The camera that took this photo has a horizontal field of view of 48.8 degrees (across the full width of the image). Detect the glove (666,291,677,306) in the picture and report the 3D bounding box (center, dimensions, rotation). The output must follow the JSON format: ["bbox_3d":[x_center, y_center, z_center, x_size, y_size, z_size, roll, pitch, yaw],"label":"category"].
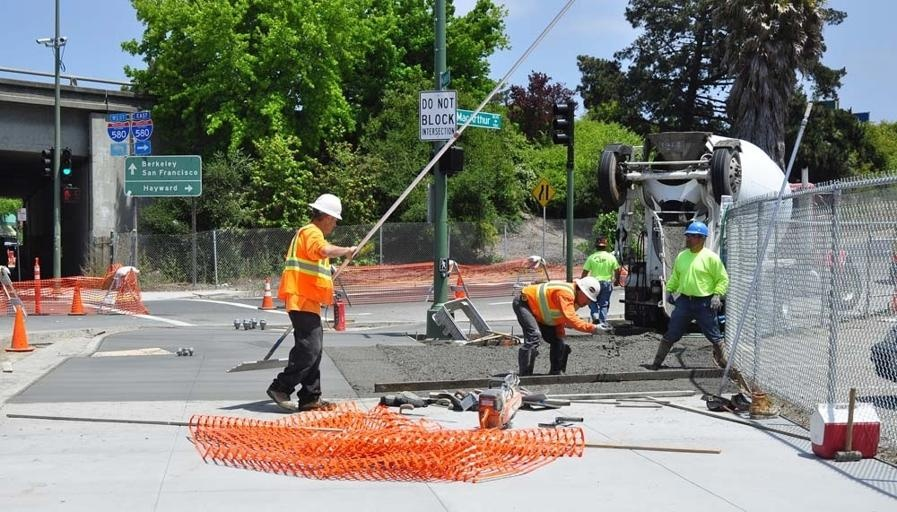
[{"bbox_3d":[5.796,1.108,25.805,0.334,0.447,0.143,8,0,16],"label":"glove"}]

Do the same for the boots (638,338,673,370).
[{"bbox_3d":[4.654,2.148,21.958,0.566,0.693,0.535,-1,4,5],"label":"boots"}]

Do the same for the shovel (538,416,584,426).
[{"bbox_3d":[2.207,3.191,19.124,0.994,0.142,0.257,-3,4,-20],"label":"shovel"}]

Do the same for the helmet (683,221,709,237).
[{"bbox_3d":[5.649,-0.571,22.090,0.633,0.330,0.461,9,2,-21],"label":"helmet"}]

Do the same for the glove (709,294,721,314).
[{"bbox_3d":[5.901,1.067,21.758,0.124,0.354,0.264,0,10,29],"label":"glove"}]

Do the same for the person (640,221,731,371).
[{"bbox_3d":[5.429,0.860,22.008,1.526,3.194,0.868,-1,4,11],"label":"person"}]

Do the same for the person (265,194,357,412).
[{"bbox_3d":[-2.844,0.915,19.793,1.466,4.226,0.893,-2,4,-8],"label":"person"}]

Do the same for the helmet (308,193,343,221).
[{"bbox_3d":[-2.410,-0.898,19.900,0.613,0.311,0.560,28,7,-26],"label":"helmet"}]

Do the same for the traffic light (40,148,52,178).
[{"bbox_3d":[-15.325,-3.557,37.679,0.338,1.045,0.617,-2,4,0],"label":"traffic light"}]

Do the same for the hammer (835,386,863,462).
[{"bbox_3d":[7.341,3.057,18.058,0.473,1.343,0.227,-4,4,-27],"label":"hammer"}]

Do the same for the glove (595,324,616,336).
[{"bbox_3d":[3.360,1.570,21.174,0.476,0.180,0.348,5,-4,-30],"label":"glove"}]

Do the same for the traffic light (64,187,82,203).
[{"bbox_3d":[-14.361,-2.297,37.568,0.638,0.642,0.612,1,-3,-36],"label":"traffic light"}]

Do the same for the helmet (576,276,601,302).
[{"bbox_3d":[2.962,0.715,21.044,0.467,0.498,0.282,-1,4,6],"label":"helmet"}]
